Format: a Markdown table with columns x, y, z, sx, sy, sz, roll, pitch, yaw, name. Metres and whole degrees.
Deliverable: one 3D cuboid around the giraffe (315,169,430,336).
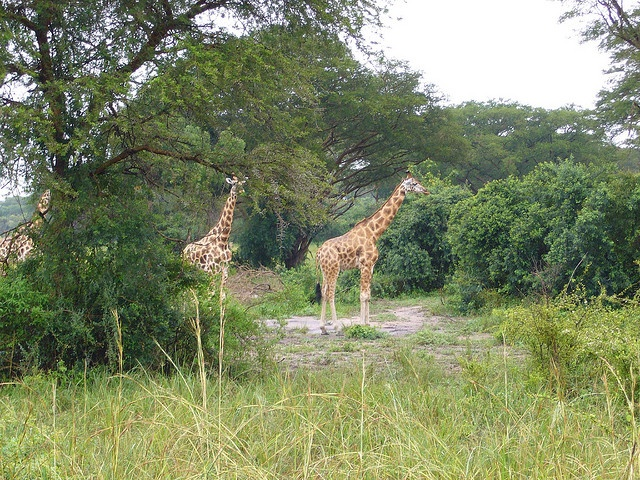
| x | y | z | sx | sy | sz | roll | pitch | yaw | name |
| --- | --- | --- | --- | --- | --- | --- | --- | --- | --- |
| 0.864 | 0.256 | 14.346 | 2.091 | 3.022 | 1.448 | -3 | -4 | -12 | giraffe |
